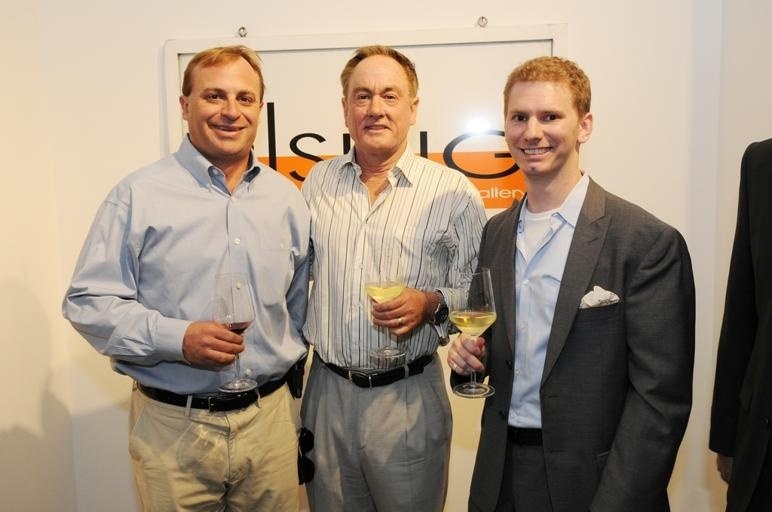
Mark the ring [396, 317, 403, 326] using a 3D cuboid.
[{"bbox_3d":[0.067,0.304,2.909,0.018,0.026,0.027,3,35,3],"label":"ring"}]

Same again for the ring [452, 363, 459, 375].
[{"bbox_3d":[0.315,0.523,2.890,0.038,0.015,0.039,23,20,-9],"label":"ring"}]

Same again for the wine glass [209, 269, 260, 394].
[{"bbox_3d":[-0.691,0.364,2.872,0.175,0.598,0.235,-4,11,-15],"label":"wine glass"}]

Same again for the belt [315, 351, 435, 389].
[{"bbox_3d":[-0.046,0.576,3.130,0.582,0.129,0.148,-1,11,0],"label":"belt"}]

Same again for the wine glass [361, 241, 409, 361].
[{"bbox_3d":[0.004,0.266,3.012,0.182,0.552,0.290,-1,10,1],"label":"wine glass"}]
